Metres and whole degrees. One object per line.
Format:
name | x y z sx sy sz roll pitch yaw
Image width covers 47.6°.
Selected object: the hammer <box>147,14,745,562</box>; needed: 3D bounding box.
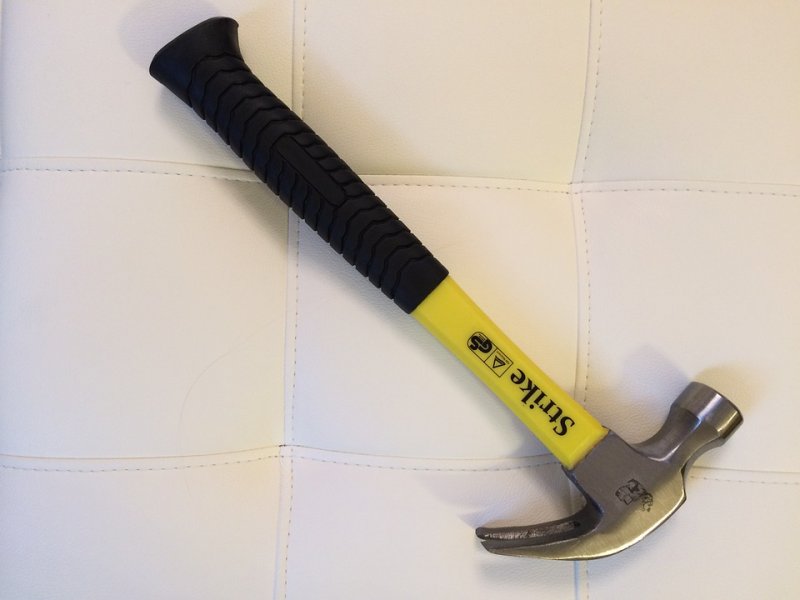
hammer | 0.063 0.009 1.590 0.507 0.163 1.208 -42 -88 -5
